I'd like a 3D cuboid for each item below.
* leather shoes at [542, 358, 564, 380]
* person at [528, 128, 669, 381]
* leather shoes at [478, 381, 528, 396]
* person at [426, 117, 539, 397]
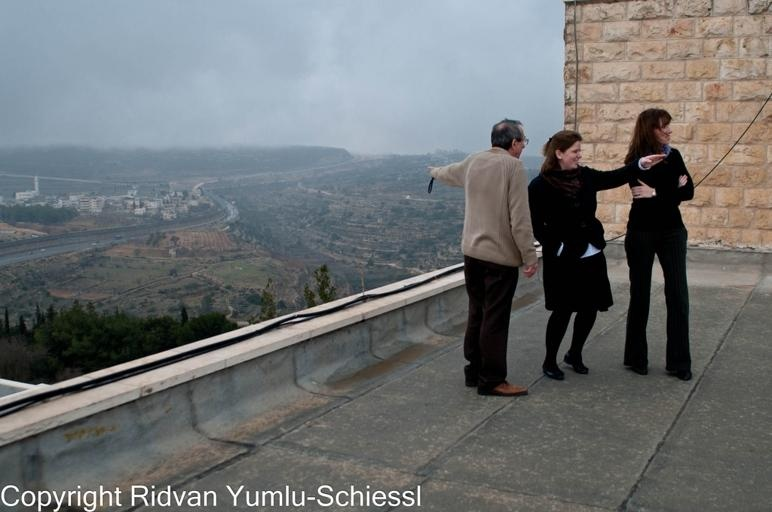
[{"bbox_3d":[1.271,0.895,4.613,0.227,0.150,0.082,4,9,44],"label":"leather shoes"},{"bbox_3d":[1.430,0.011,4.480,0.697,1.877,0.404,3,16,18],"label":"person"},{"bbox_3d":[0.867,0.991,4.330,0.318,0.108,0.128,-3,2,5],"label":"leather shoes"},{"bbox_3d":[0.799,0.011,4.396,0.569,2.001,0.710,-2,15,1],"label":"person"}]
